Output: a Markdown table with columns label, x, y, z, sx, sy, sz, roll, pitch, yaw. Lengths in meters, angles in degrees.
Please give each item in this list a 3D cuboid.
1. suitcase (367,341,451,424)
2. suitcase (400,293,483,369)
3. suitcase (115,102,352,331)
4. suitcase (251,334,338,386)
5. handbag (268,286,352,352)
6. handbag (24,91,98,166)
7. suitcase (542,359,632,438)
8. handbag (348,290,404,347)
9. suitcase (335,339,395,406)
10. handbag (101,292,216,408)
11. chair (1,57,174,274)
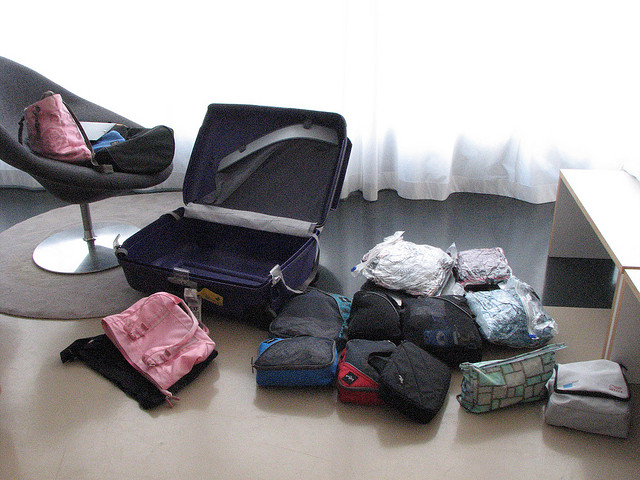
| label | x | y | z | sx | sy | sz | roll | pitch | yaw |
| --- | --- | --- | --- | --- | --- | --- | --- | --- | --- |
| suitcase | 0.418 | 0.620 | 2.388 | 0.261 | 0.186 | 0.276 | 13 | 29 | 21 |
| suitcase | 0.590 | 0.395 | 2.577 | 0.335 | 0.122 | 0.332 | 0 | 46 | 4 |
| suitcase | -0.452 | -0.182 | 2.921 | 1.021 | 0.785 | 1.169 | 9 | 30 | 14 |
| suitcase | -0.107 | 0.533 | 2.468 | 0.288 | 0.134 | 0.226 | 2 | 38 | 3 |
| handbag | -0.070 | 0.373 | 2.747 | 0.364 | 0.108 | 0.381 | 16 | 38 | 13 |
| handbag | -1.354 | -0.544 | 2.946 | 0.309 | 0.436 | 0.154 | -23 | 10 | 3 |
| suitcase | 1.128 | 0.657 | 2.318 | 0.323 | 0.214 | 0.242 | 9 | 28 | 14 |
| handbag | 0.262 | 0.385 | 2.626 | 0.258 | 0.257 | 0.234 | -3 | 17 | 0 |
| suitcase | 0.181 | 0.594 | 2.447 | 0.213 | 0.103 | 0.273 | 1 | 39 | 1 |
| handbag | -0.744 | 0.483 | 2.641 | 0.462 | 0.175 | 0.484 | 34 | 30 | 15 |
| chair | -1.319 | -0.405 | 3.185 | 0.853 | 1.000 | 0.824 | -13 | 31 | -26 |
